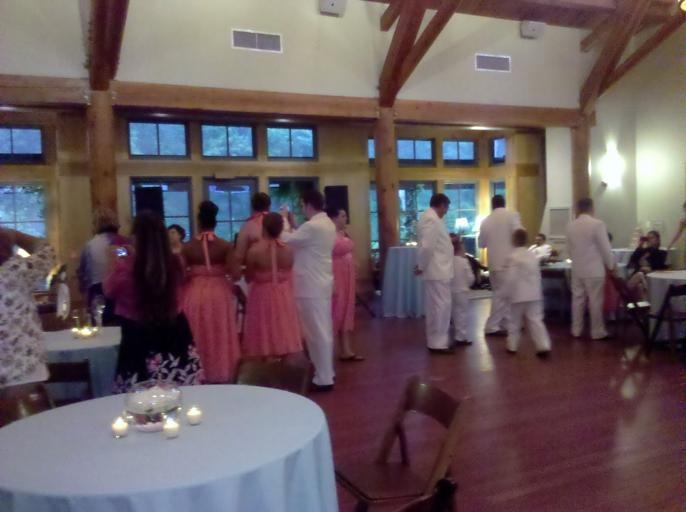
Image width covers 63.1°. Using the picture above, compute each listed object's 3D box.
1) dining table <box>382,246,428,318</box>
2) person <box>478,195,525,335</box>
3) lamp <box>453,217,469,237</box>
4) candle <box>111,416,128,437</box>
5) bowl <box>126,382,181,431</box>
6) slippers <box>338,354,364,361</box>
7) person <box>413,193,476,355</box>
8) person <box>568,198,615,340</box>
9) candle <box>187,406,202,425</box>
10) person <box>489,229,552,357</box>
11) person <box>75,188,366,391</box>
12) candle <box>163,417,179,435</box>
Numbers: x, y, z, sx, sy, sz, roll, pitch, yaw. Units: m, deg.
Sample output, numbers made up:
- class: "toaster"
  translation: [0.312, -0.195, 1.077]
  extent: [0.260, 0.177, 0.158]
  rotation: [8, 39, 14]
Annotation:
- class: "dining table"
  translation: [0.813, 0.408, 8.755]
  extent: [0.877, 1.397, 0.905]
  rotation: [0, 1, -8]
- class: "person"
  translation: [2.051, 0.125, 7.176]
  extent: [0.489, 1.845, 0.566]
  rotation: [3, -3, -44]
- class: "lamp"
  translation: [2.727, -0.655, 12.711]
  extent: [0.396, 0.403, 0.380]
  rotation: [-4, 7, -5]
- class: "candle"
  translation: [-0.978, 0.750, 2.474]
  extent: [0.067, 0.081, 0.070]
  rotation: [5, 3, 22]
- class: "bowl"
  translation: [-0.877, 0.707, 2.583]
  extent: [0.250, 0.202, 0.254]
  rotation: [1, 5, 0]
- class: "slippers"
  translation: [0.089, 1.112, 6.124]
  extent: [0.210, 0.053, 0.100]
  rotation: [0, 2, 1]
- class: "person"
  translation: [1.032, 0.199, 6.283]
  extent: [0.417, 1.768, 0.297]
  rotation: [2, 9, 7]
- class: "person"
  translation: [3.029, 0.166, 6.852]
  extent: [0.563, 1.702, 0.367]
  rotation: [5, 10, 27]
- class: "candle"
  translation: [-0.676, 0.727, 2.523]
  extent: [0.063, 0.065, 0.065]
  rotation: [3, 6, 42]
- class: "person"
  translation: [2.016, 0.408, 6.022]
  extent: [0.484, 1.416, 0.400]
  rotation: [4, 9, 21]
- class: "person"
  translation: [-1.079, 0.326, 4.001]
  extent: [0.577, 1.379, 1.393]
  rotation: [3, 9, 16]
- class: "candle"
  translation: [-0.756, 0.740, 2.457]
  extent: [0.061, 0.067, 0.066]
  rotation: [5, 9, 34]
